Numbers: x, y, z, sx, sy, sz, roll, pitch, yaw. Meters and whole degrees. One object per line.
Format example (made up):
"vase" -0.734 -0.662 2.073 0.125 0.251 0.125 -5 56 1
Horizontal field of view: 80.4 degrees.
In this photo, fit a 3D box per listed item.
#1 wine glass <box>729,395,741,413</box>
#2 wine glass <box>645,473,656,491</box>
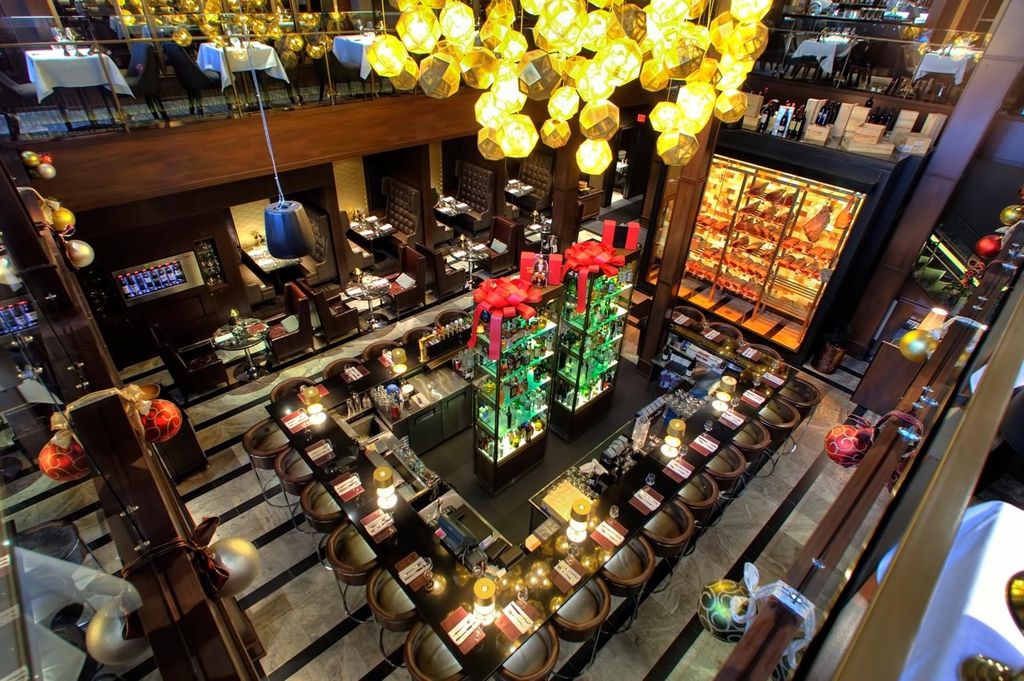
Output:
"wine glass" 2.830 0.814 7.640 0.068 0.031 0.206 28 55 22
"wine glass" 1.573 1.537 6.762 0.116 0.099 0.221 9 33 11
